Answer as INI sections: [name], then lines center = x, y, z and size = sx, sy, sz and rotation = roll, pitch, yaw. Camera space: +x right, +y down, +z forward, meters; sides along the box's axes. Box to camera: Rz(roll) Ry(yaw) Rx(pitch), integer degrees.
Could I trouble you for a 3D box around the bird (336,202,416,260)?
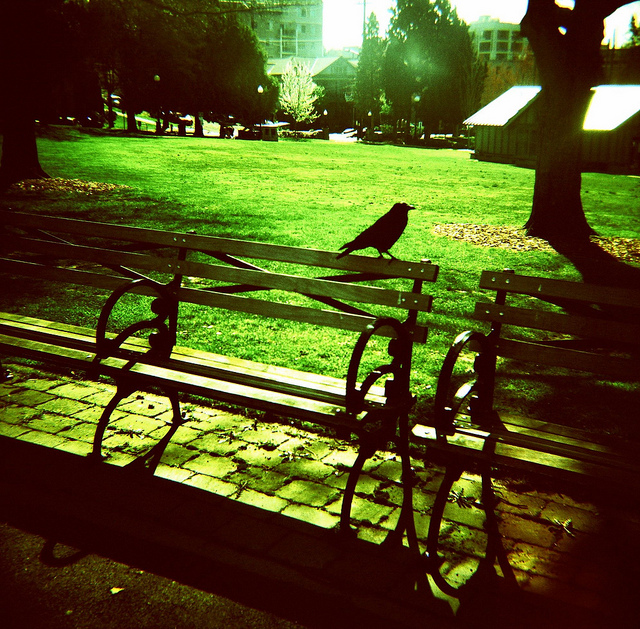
[bird]
center = 0.325, -0.502, 3.990
size = 0.358, 0.309, 0.126
rotation = 3, 18, -1
